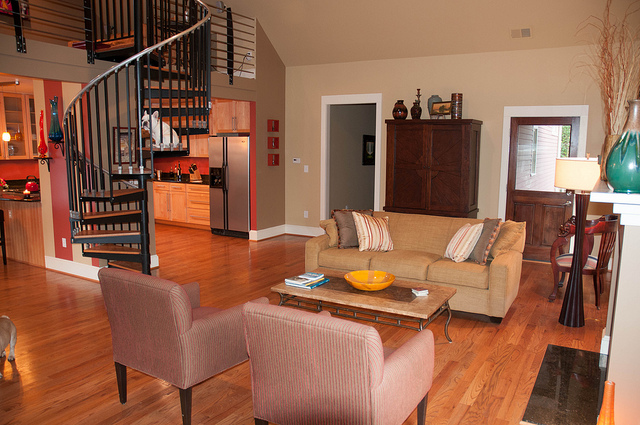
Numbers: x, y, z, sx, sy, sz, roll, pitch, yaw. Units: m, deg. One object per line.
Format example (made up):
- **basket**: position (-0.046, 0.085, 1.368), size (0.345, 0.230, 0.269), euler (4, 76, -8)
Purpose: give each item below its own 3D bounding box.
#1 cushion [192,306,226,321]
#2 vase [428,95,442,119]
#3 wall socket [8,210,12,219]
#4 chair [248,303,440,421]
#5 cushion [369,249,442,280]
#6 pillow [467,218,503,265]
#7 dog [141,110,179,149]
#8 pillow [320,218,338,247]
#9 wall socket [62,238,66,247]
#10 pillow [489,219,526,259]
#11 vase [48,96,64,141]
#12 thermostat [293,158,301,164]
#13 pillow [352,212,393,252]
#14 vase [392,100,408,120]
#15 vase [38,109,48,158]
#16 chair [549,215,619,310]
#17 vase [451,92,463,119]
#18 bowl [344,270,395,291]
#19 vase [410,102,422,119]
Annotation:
- **cushion**: position (-1.149, 0.981, 4.571), size (0.193, 0.045, 0.183), euler (5, 7, 42)
- **vase**: position (2.060, -1.898, 8.359), size (0.226, 0.431, 0.352), euler (4, 10, 27)
- **wall socket**: position (-5.189, 0.036, 7.840), size (0.109, 0.152, 0.010), euler (4, 11, 31)
- **chair**: position (0.225, 1.123, 3.746), size (1.073, 1.155, 1.097), euler (3, 9, 30)
- **cushion**: position (1.039, 0.761, 6.493), size (0.832, 0.349, 0.892), euler (10, -3, 3)
- **pillow**: position (2.277, 0.303, 6.204), size (0.187, 0.570, 0.608), euler (25, 8, 9)
- **dog**: position (-1.924, -1.049, 5.984), size (0.309, 0.500, 0.594), euler (0, 2, 24)
- **pillow**: position (0.172, 0.293, 6.769), size (0.135, 0.339, 0.337), euler (-14, 5, 2)
- **wall socket**: position (-3.943, 0.469, 7.212), size (0.109, 0.148, 0.021), euler (5, 12, 35)
- **pillow**: position (2.409, 0.359, 6.035), size (0.481, 0.438, 0.248), euler (-8, 11, -36)
- **vase**: position (-3.763, -1.334, 6.624), size (0.170, 0.632, 0.435), euler (-6, 11, -28)
- **thermostat**: position (-0.498, -1.103, 9.971), size (0.161, 0.102, 0.038), euler (3, 3, 26)
- **pillow**: position (0.836, 0.285, 6.632), size (0.622, 0.667, 0.205), euler (-7, 28, -4)
- **vase**: position (1.421, -1.845, 8.375), size (0.245, 0.363, 0.369), euler (0, 9, 8)
- **vase**: position (-4.182, -1.187, 7.022), size (0.132, 0.721, 0.306), euler (-6, 11, -28)
- **chair**: position (3.606, 0.649, 6.443), size (0.815, 1.130, 0.832), euler (5, 5, 42)
- **vase**: position (2.325, -1.826, 7.990), size (0.159, 0.402, 0.064), euler (0, 10, 9)
- **bowl**: position (0.566, 0.789, 5.391), size (0.538, 0.124, 0.501), euler (-1, 8, 0)
- **vase**: position (1.721, -1.817, 8.318), size (0.175, 0.278, 0.135), euler (-3, 10, -11)
